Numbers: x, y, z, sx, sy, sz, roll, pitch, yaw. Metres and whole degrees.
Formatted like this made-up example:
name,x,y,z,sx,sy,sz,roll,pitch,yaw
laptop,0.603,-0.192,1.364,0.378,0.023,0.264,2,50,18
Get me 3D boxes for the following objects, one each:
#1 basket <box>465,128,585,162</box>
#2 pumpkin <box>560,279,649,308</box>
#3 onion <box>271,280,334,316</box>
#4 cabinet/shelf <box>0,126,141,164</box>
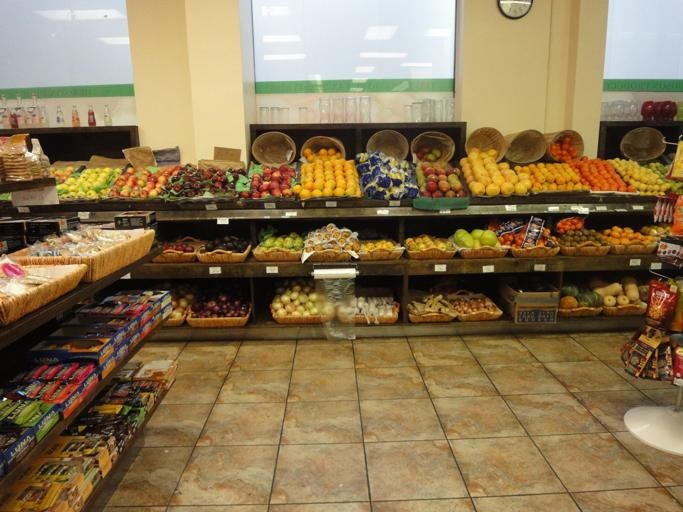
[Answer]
name,x,y,z,sx,sy,sz,roll,pitch,yaw
basket,2.097,-1.234,5.035,1.592,0.372,0.347,-1,8,2
pumpkin,2.617,0.393,4.620,0.486,0.124,0.493,-1,7,4
onion,-0.433,0.447,4.571,0.446,0.120,0.382,1,32,-5
cabinet/shelf,-3.204,-1.357,5.540,1.526,0.417,0.339,-2,18,-1
